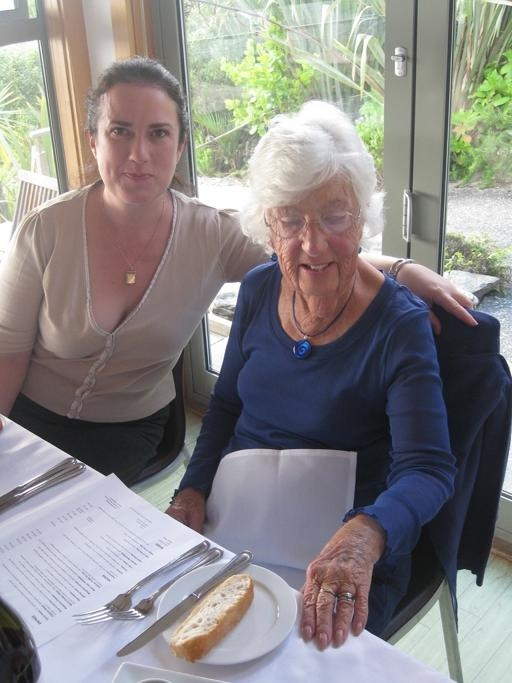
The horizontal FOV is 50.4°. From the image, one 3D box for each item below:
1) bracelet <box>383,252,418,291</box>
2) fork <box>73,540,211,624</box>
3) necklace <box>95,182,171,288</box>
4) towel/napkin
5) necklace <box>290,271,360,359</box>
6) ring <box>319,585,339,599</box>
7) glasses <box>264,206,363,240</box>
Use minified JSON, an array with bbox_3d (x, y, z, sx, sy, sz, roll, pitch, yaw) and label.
[{"bbox_3d":[0.306,-0.154,1.161,0.050,0.055,0.024,31,-18,-7],"label":"bracelet"},{"bbox_3d":[-0.117,0.269,0.651,0.041,0.026,0.203,8,14,40],"label":"fork"},{"bbox_3d":[-0.330,-0.274,1.449,0.199,0.256,0.063,3,7,-3],"label":"necklace"},{"bbox_3d":[0.051,0.287,0.885,0.229,0.174,0.025,8,-6,29],"label":"towel/napkin"},{"bbox_3d":[0.122,-0.039,1.036,0.094,0.168,0.017,17,-7,27],"label":"necklace"},{"bbox_3d":[0.084,0.294,0.641,0.019,0.011,0.023,-2,19,2],"label":"ring"},{"bbox_3d":[0.099,-0.210,0.978,0.154,0.055,0.048,4,20,16],"label":"glasses"}]
